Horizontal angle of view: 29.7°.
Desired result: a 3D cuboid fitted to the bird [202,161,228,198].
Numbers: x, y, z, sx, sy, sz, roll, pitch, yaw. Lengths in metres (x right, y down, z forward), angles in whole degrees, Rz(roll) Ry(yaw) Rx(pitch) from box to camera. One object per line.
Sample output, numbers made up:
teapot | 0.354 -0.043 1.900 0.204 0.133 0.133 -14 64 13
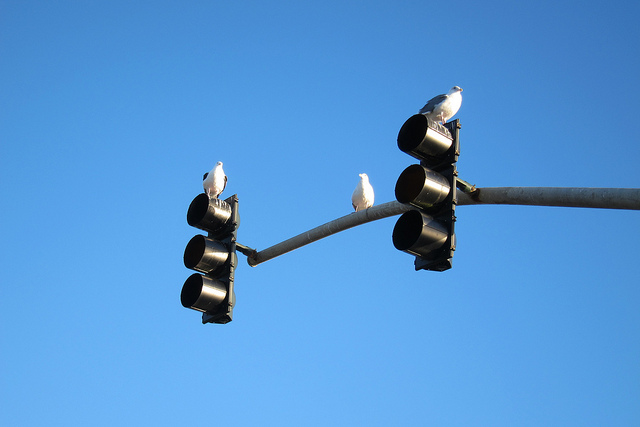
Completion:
bird | -1.784 -0.597 20.539 0.359 1.154 0.723 2 -71 -8
